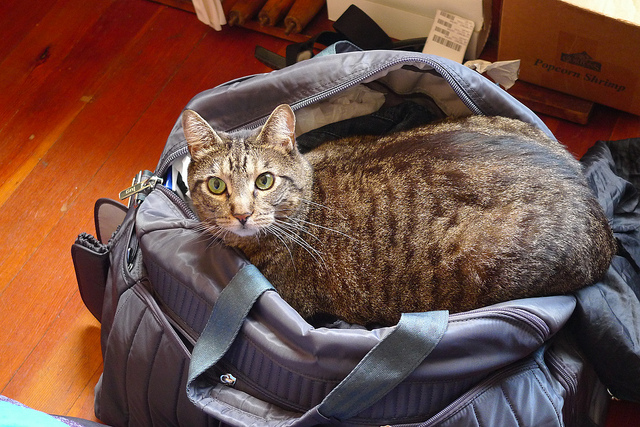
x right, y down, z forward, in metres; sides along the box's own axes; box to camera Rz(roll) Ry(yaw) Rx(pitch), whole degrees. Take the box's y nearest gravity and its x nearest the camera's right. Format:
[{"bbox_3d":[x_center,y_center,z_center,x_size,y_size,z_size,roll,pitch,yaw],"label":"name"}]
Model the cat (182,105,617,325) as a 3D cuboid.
[{"bbox_3d":[0.213,0.086,1.472,0.895,0.408,0.564,-17,60,5],"label":"cat"}]
